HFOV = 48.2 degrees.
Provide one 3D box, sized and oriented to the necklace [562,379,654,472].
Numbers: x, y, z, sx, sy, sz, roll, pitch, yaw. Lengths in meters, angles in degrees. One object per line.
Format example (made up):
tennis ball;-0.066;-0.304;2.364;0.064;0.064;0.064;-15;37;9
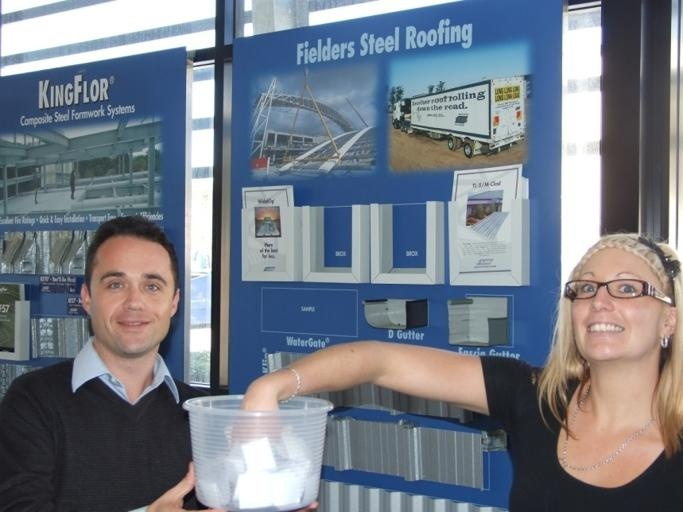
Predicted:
necklace;0.946;0.622;2.753;0.323;0.302;0.177;-1;-2;22

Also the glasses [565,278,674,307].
glasses;0.996;0.123;2.731;0.321;0.088;0.102;-1;-3;18

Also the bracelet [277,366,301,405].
bracelet;-0.173;0.438;2.591;0.073;0.117;0.060;0;-2;1
